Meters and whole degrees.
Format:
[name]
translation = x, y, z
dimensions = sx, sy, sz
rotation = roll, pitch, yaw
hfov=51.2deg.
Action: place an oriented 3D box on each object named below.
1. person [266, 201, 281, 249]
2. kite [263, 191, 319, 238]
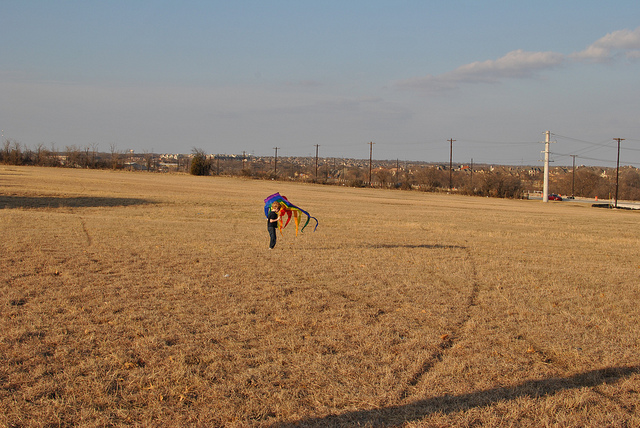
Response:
[person]
translation = -2.001, 0.456, 28.537
dimensions = 0.497, 2.077, 1.228
rotation = 3, 5, -4
[kite]
translation = -1.369, -0.057, 29.464
dimensions = 2.480, 1.845, 2.148
rotation = 24, 17, 31
